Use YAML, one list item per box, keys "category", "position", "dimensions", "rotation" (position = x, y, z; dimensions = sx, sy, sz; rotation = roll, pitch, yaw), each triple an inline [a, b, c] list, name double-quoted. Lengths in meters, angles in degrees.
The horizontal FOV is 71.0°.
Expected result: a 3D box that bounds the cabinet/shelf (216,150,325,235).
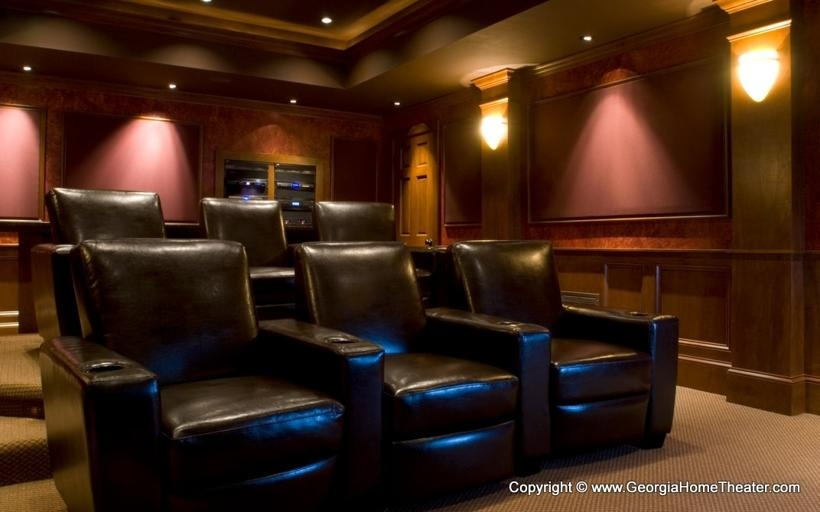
- category: "cabinet/shelf"
  position: [-1.663, -0.777, 6.642]
  dimensions: [1.458, 1.090, 0.452]
  rotation: [1, -4, -26]
